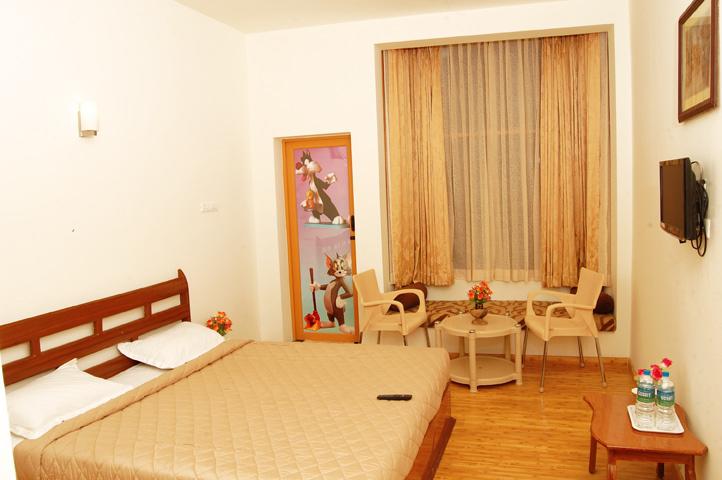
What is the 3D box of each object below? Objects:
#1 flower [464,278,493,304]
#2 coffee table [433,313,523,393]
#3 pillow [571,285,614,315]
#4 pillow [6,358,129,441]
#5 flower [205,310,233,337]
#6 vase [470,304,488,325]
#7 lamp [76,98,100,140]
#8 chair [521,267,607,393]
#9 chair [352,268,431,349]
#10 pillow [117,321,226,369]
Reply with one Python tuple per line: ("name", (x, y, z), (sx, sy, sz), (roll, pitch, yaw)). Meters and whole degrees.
("flower", (1.244, 0.536, 5.501), (0.284, 0.320, 0.323), (-1, -3, 6))
("coffee table", (1.224, 1.245, 5.575), (1.034, 0.662, 1.028), (2, -2, 0))
("pillow", (2.632, 0.661, 5.753), (0.301, 0.285, 0.307), (1, 3, 17))
("pillow", (-2.100, 1.087, 3.620), (0.432, 0.097, 0.505), (17, 16, 24))
("flower", (-1.486, 0.840, 5.349), (0.280, 0.271, 0.284), (3, 9, 22))
("vase", (1.217, 0.775, 5.358), (0.180, 0.157, 0.185), (-1, 2, 37))
("lamp", (-2.226, -0.978, 4.187), (0.157, 0.282, 0.148), (-8, 16, -27))
("chair", (2.095, 0.931, 5.353), (0.847, 1.005, 0.908), (-2, -5, -19))
("chair", (0.313, 0.823, 5.729), (0.694, 0.874, 0.737), (0, 5, 22))
("pillow", (-1.725, 0.910, 4.540), (0.592, 0.145, 0.508), (9, 24, 25))
